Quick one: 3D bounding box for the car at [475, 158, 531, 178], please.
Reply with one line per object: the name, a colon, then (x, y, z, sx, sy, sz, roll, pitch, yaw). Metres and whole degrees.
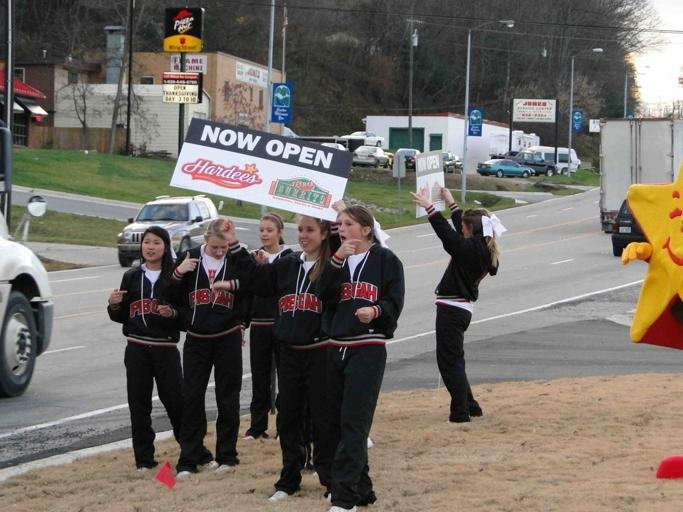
car: (9.572, -5.113, 62.734, 2.595, 0.865, 1.280, -2, 7, -16)

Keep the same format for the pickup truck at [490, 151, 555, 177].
pickup truck: (11.847, -5.856, 66.759, 3.325, 1.299, 1.663, -4, 11, -18)

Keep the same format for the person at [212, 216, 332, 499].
person: (-0.634, 1.234, 13.935, 1.074, 3.480, 1.490, -4, 10, -20)

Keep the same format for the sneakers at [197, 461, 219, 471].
sneakers: (-1.762, 2.796, 14.263, 0.188, 0.142, 0.114, 10, -12, -8)

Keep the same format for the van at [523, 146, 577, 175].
van: (13.002, -6.066, 67.522, 3.218, 1.701, 1.999, 3, 1, -24)

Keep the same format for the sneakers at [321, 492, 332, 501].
sneakers: (-0.189, 3.039, 13.627, 0.113, 0.126, 0.061, -5, -5, 36)

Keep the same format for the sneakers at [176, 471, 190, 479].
sneakers: (-2.054, 2.860, 14.025, 0.200, 0.077, 0.133, -1, 11, -6)

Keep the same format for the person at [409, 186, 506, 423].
person: (1.679, 0.681, 15.556, 0.795, 3.381, 1.302, 9, 13, 43)

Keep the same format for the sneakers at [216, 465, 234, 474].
sneakers: (-1.534, 2.820, 14.201, 0.221, 0.105, 0.099, 5, -5, -6)

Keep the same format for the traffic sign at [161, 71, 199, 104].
traffic sign: (-7.017, -7.485, 47.670, 1.685, 1.394, 1.050, -1, 10, -8)

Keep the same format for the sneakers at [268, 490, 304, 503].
sneakers: (-0.716, 3.041, 13.627, 0.377, 0.166, 0.128, 4, -5, -29)
